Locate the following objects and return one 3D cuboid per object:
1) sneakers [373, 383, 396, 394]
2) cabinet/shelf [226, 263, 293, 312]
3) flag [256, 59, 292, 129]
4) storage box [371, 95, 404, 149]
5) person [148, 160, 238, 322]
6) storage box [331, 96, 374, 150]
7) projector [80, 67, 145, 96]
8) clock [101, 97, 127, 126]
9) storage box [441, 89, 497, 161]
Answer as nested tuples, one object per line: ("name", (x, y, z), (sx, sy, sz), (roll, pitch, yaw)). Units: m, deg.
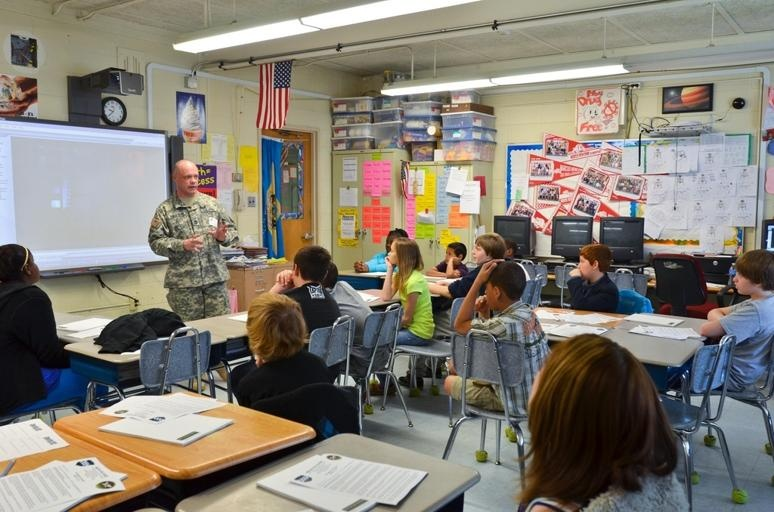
("sneakers", (-0.034, 1.217, 5.038), (0.259, 0.092, 0.088), (-1, 3, 0))
("cabinet/shelf", (-1.286, 0.290, 5.279), (0.243, 0.541, 0.639), (2, 0, 37))
("flag", (-1.306, -1.904, 6.451), (0.426, 0.773, 0.277), (6, 10, 29))
("storage box", (0.009, -2.043, 8.361), (0.502, 0.786, 0.163), (6, 10, 33))
("person", (-1.690, -0.133, 4.702), (0.630, 1.341, 0.347), (-3, 9, -22))
("storage box", (-0.530, -2.040, 8.498), (0.711, 0.794, 0.180), (4, 9, 20))
("projector", (-2.858, -1.804, 5.711), (0.557, 0.221, 0.317), (6, 9, 36))
("clock", (-3.021, -1.598, 6.034), (0.040, 0.288, 0.294), (-2, 32, 35))
("storage box", (1.265, -1.782, 7.978), (0.850, 0.821, 0.428), (-3, 9, -26))
